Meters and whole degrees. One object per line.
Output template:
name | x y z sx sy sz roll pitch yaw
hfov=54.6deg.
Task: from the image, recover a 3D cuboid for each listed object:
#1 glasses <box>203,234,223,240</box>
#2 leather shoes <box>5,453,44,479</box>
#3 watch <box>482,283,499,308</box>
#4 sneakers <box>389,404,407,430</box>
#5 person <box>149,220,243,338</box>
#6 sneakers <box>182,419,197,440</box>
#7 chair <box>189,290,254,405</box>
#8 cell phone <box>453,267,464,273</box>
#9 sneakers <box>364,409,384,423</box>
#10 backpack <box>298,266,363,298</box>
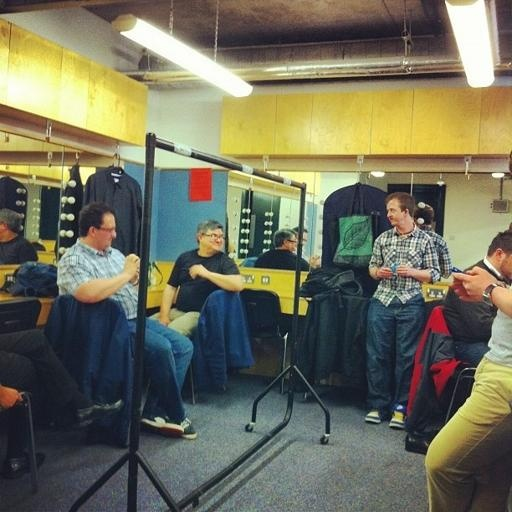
glasses | -0.324 -0.144 3.848 0.145 0.050 0.065 2 3 -16
leather shoes | -1.191 1.058 2.569 0.080 0.087 0.206 4 5 20
watch | 0.829 0.135 1.758 0.036 0.073 0.062 3 3 -9
sneakers | 0.992 1.130 3.447 0.067 0.087 0.202 1 6 12
person | -0.456 0.197 3.979 0.662 0.894 0.490 22 1 -4
sneakers | -0.418 1.088 3.094 0.148 0.094 0.050 0 -1 36
chair | -0.243 0.604 3.658 0.457 0.712 0.299 2 3 -15
cell phone | 1.355 0.094 3.312 0.035 0.043 0.156 -1 -2 27
sneakers | 0.842 1.143 3.533 0.070 0.067 0.155 0 -9 11
backpack | 0.607 0.231 3.992 0.482 0.242 0.262 3 3 4
